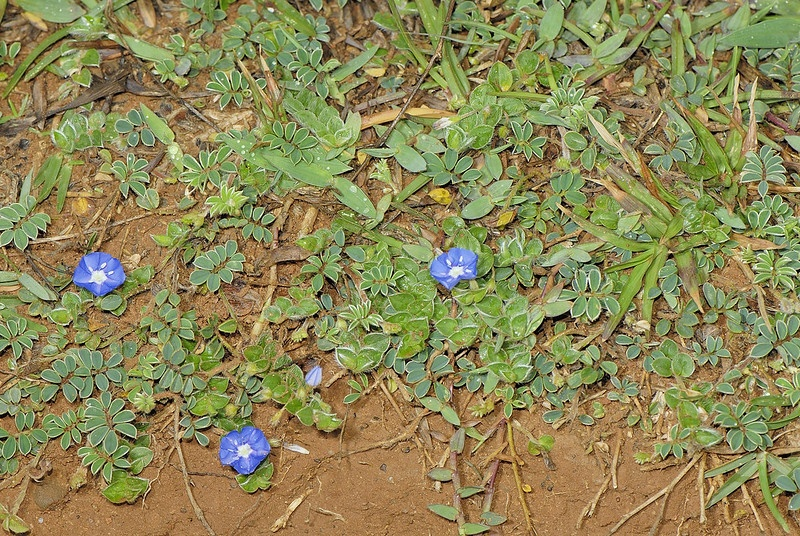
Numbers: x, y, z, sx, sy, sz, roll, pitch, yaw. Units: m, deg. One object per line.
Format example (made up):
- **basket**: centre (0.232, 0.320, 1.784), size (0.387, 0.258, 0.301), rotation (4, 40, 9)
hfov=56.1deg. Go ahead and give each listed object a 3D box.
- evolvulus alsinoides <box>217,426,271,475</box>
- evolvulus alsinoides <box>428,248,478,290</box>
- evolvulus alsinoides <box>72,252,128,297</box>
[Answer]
- **evolvulus alsinoides**: centre (-0.633, 0.721, 3.000), size (0.241, 0.065, 0.256), rotation (3, 18, 21)
- **evolvulus alsinoides**: centre (0.222, -0.009, 3.058), size (0.170, 0.069, 0.158), rotation (-46, 64, -6)
- **evolvulus alsinoides**: centre (-1.274, 0.004, 3.172), size (0.173, 0.182, 0.064), rotation (-20, 51, 25)
